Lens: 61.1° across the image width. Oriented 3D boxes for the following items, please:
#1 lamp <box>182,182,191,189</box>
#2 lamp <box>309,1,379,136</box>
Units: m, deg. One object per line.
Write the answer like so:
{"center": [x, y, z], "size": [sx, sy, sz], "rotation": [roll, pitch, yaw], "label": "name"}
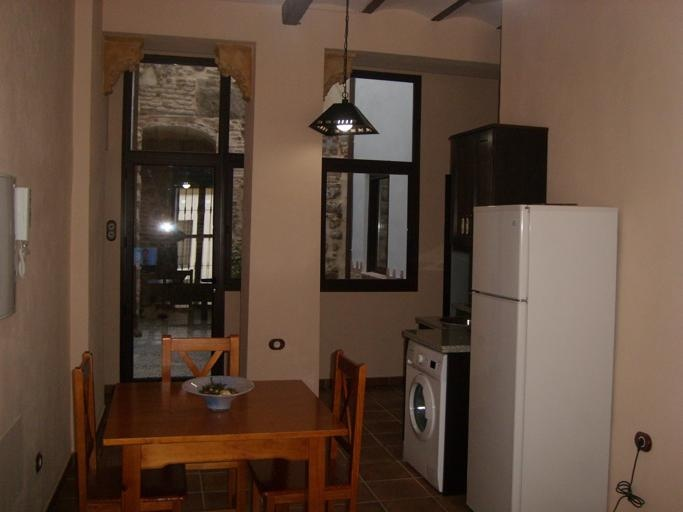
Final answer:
{"center": [-1.668, -0.753, 6.224], "size": [0.064, 0.086, 0.069], "rotation": [1, 5, -18], "label": "lamp"}
{"center": [0.016, -1.618, 5.001], "size": [0.555, 1.254, 1.756], "rotation": [0, 6, 3], "label": "lamp"}
